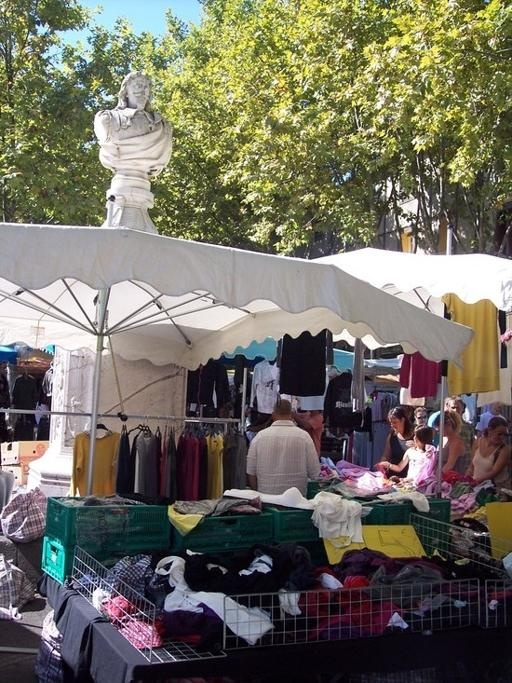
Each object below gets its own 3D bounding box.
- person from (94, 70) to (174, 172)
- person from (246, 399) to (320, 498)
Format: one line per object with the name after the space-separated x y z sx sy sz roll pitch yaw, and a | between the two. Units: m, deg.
-1.130 -2.024 6.370 0.674 0.987 0.406 0 -4 -14 | person
0.180 1.073 6.209 0.543 1.347 0.402 -3 36 -8 | person
